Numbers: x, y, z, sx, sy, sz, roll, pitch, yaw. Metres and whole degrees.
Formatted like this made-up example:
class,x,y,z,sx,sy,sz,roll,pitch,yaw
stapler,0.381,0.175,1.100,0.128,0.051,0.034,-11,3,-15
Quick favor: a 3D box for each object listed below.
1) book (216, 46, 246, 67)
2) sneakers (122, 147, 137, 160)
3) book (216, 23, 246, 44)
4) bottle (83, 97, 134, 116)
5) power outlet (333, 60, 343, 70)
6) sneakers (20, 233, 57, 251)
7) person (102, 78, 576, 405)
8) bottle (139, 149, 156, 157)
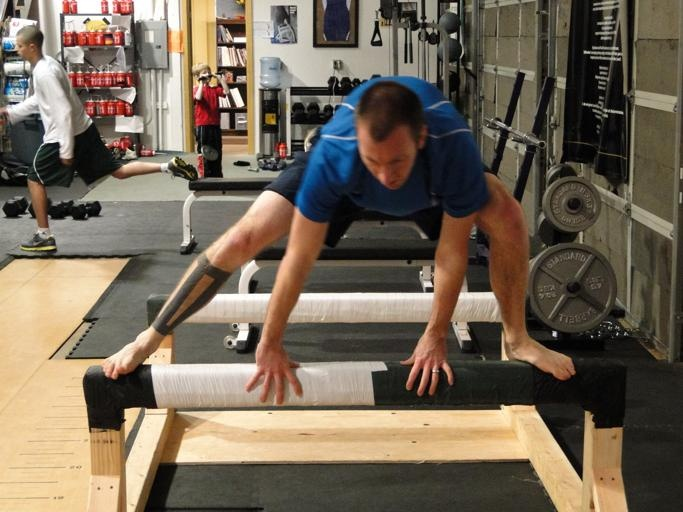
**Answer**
class,x,y,z,sx,sy,sz,roll,pitch,yaw
book,-2.080,-3.849,12.469,0.538,0.390,0.225,2,12,6
sneakers,-3.616,-1.752,11.157,0.202,0.161,0.216,5,5,2
book,-2.083,-4.315,12.582,0.556,0.369,0.415,2,12,4
bottle,-3.962,-2.568,11.239,0.624,0.318,0.368,2,11,0
power outlet,-0.033,-3.364,11.393,0.119,0.184,0.066,-1,35,-4
sneakers,-2.757,-0.126,5.933,0.330,0.180,0.133,3,3,1
person,0.013,-0.065,2.381,1.592,1.122,1.215,-4,15,-22
bottle,-3.415,-1.845,11.590,0.318,0.191,0.199,0,12,-8
